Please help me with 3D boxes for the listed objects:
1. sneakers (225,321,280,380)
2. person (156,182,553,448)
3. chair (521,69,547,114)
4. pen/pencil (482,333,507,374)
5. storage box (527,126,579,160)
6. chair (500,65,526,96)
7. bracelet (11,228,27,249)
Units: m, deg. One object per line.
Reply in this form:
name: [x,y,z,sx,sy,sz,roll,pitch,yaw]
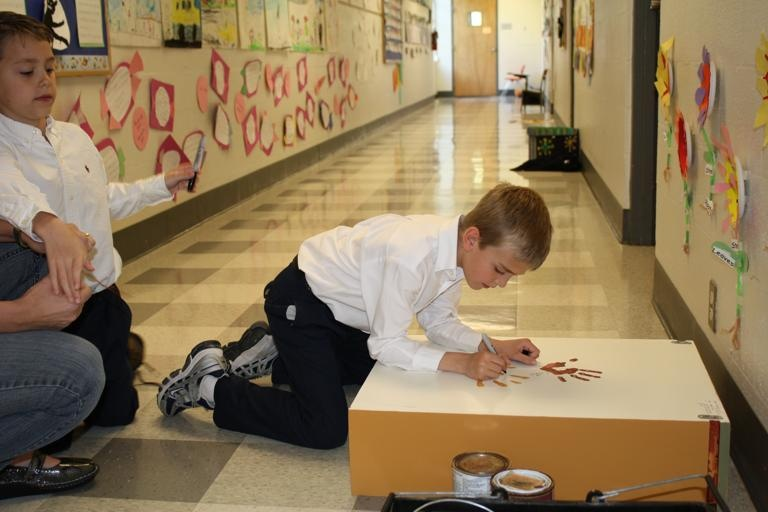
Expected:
sneakers: [-0.566,0.402,2.326,0.166,0.393,0.138,2,61,-15]
person: [-0.075,0.129,2.260,1.394,0.942,0.880,4,14,14]
chair: [4.167,-4.576,15.148,0.726,1.087,0.728,11,18,35]
pen/pencil: [0.390,0.347,1.927,0.019,0.220,0.029,28,68,41]
storage box: [2.311,-1.416,7.103,0.692,0.357,0.501,11,18,35]
chair: [4.713,-6.293,19.358,0.632,0.879,0.626,-3,20,8]
bracelet: [-1.159,-0.057,1.725,0.046,0.044,0.029,33,42,24]
